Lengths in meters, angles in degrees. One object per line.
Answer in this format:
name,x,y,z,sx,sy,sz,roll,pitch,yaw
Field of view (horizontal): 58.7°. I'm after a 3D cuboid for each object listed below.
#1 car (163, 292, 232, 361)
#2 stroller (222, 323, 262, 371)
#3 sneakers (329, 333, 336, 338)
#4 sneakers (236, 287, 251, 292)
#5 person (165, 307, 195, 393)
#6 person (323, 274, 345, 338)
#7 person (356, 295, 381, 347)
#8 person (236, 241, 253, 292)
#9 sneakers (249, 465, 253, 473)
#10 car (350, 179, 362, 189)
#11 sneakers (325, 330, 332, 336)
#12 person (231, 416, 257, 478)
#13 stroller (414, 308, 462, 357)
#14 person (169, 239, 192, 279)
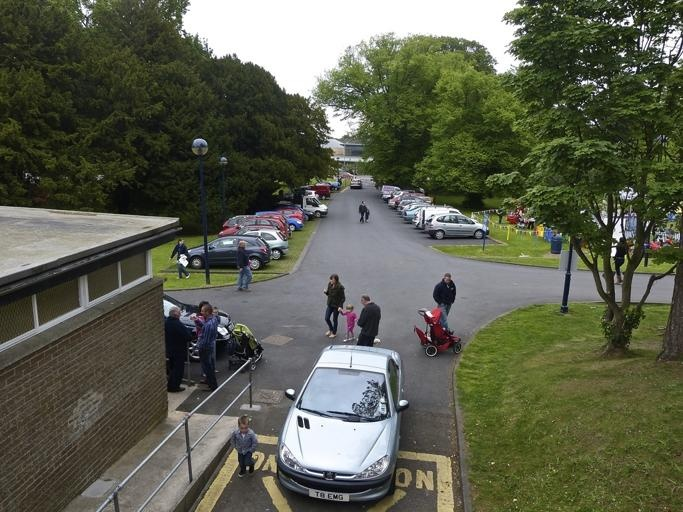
car,-4.284,1.977,17.015,2.450,0.998,1.241,9,9,2
stroller,-2.641,2.434,16.289,0.776,1.240,1.169,2,9,12
sneakers,-0.277,2.423,18.445,0.111,0.148,0.353,1,-3,10
sneakers,-3.785,1.318,23.473,0.515,0.250,0.178,-4,11,8
person,-4.011,2.294,14.928,0.624,2.190,0.506,0,8,-9
person,-0.217,1.471,18.378,0.549,1.986,1.133,1,8,-1
person,0.723,1.837,16.421,0.579,1.545,1.362,2,8,3
person,-3.742,0.360,23.419,0.548,1.938,1.435,0,9,-9
sneakers,-1.849,4.351,12.373,0.054,0.184,0.073,0,0,0
car,2.104,-10.489,88.820,1.615,1.381,3.920,1,15,3
sneakers,-0.403,2.363,18.645,0.096,0.134,0.303,-1,-13,-6
person,-1.980,3.823,12.316,0.467,1.323,0.441,0,8,-10
stroller,2.641,2.136,17.795,1.537,1.459,0.985,-4,11,-11
person,-7.101,-0.122,26.918,0.672,1.634,3.544,-1,9,-16
